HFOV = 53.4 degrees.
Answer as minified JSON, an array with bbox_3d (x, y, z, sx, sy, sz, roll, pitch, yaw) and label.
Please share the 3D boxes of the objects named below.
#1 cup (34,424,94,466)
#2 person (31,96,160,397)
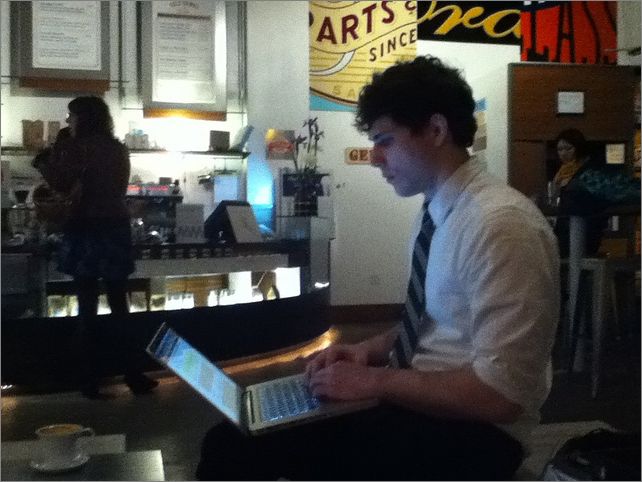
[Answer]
[{"bbox_3d":[-0.990,0.774,2.492,0.210,0.132,0.158,3,-9,-24],"label":"cup"},{"bbox_3d":[-1.419,0.018,3.932,0.527,1.776,0.214,-5,9,-23],"label":"person"}]
